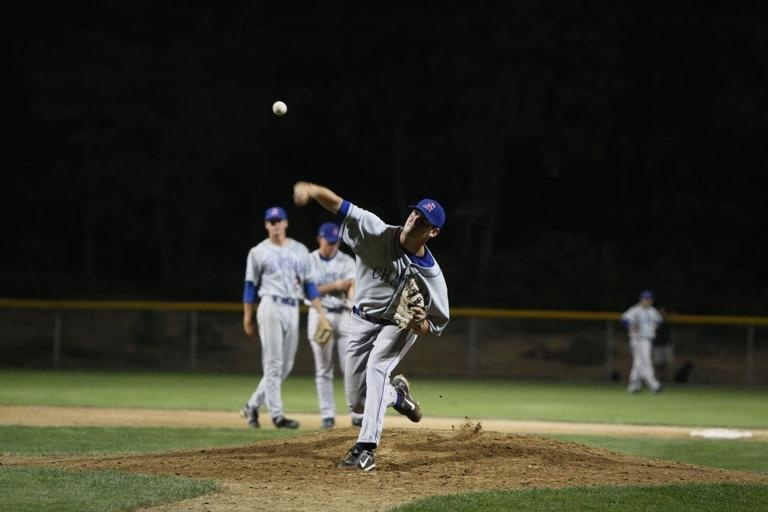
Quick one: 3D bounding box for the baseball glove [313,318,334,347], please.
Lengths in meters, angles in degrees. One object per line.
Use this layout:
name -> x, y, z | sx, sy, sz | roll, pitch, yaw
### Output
baseball glove -> -1.258, 1.582, 22.816 | 0.332, 0.588, 0.345 | 22, 4, -42

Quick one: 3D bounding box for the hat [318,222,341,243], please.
hat -> -1.086, -0.476, 23.066 | 0.385, 0.319, 0.551 | 0, 5, -23

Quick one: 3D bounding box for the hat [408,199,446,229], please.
hat -> 0.851, -0.675, 19.911 | 0.455, 0.331, 0.615 | 39, -2, 41

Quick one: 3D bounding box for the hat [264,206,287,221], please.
hat -> -2.177, -0.844, 22.399 | 0.376, 0.326, 0.506 | 1, -5, -9
